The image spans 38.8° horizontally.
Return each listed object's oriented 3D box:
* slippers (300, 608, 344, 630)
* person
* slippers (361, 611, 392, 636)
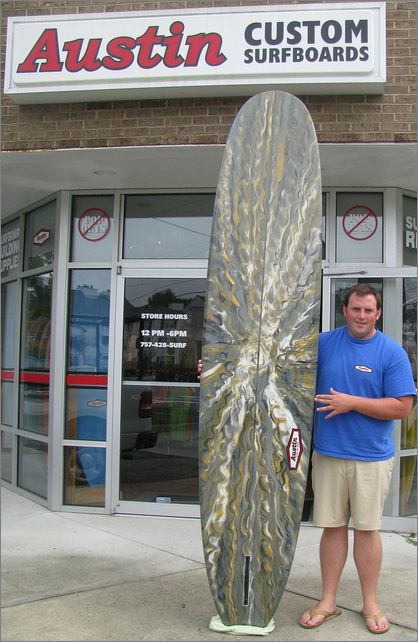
[{"bbox_3d":[0.498,1.288,2.591,0.171,0.042,0.065,1,-8,-33],"label":"slippers"},{"bbox_3d":[0.660,0.572,2.613,0.487,1.505,0.417,0,-4,14],"label":"person"},{"bbox_3d":[0.721,1.294,2.555,0.116,0.059,0.141,0,-3,17],"label":"slippers"}]
